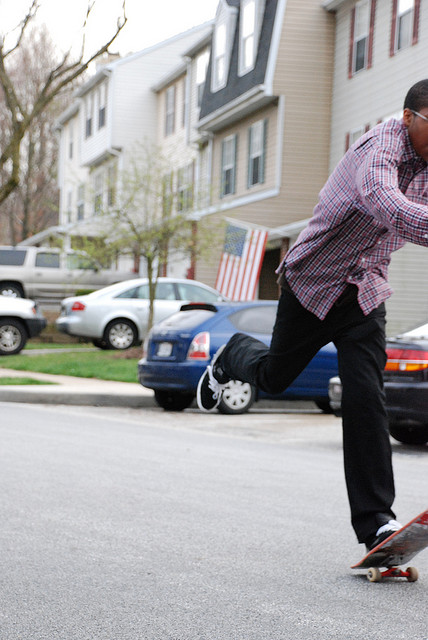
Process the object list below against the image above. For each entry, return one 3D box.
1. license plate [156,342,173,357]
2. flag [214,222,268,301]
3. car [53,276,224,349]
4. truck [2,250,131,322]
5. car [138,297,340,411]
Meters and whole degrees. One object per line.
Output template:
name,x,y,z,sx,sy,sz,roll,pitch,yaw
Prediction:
license plate,-0.757,0.445,9.596,0.075,0.207,0.282,6,-2,-44
flag,0.823,-1.563,20.240,1.832,2.918,0.063,6,11,-36
car,-1.932,-0.203,17.933,4.922,1.418,1.893,-3,2,-12
truck,-5.696,-1.509,22.984,4.967,1.946,2.092,-3,4,-15
car,0.497,0.479,9.966,2.974,1.110,1.554,-3,3,-27
